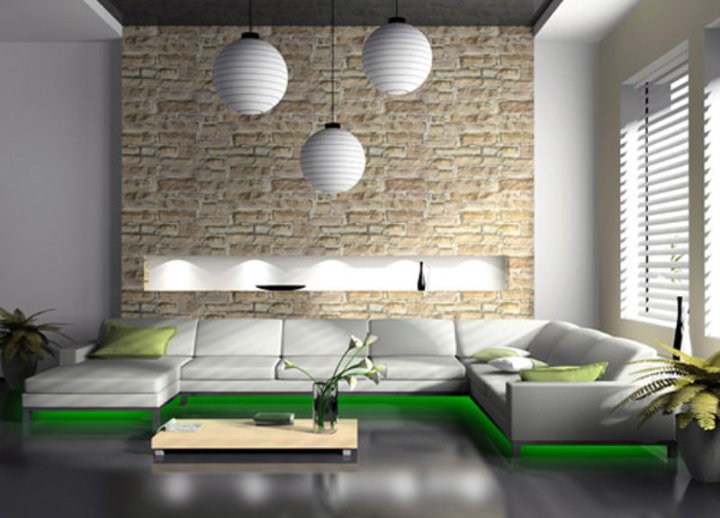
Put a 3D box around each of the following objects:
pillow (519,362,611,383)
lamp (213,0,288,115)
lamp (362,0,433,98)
[{"bbox_3d":[1.677,0.936,5.058,0.696,0.172,0.084,0,8,4],"label":"pillow"},{"bbox_3d":[-0.836,-1.442,4.675,0.553,0.615,0.218,-2,9,-10],"label":"lamp"},{"bbox_3d":[0.276,-1.539,4.662,0.514,0.503,0.184,0,8,0],"label":"lamp"}]
